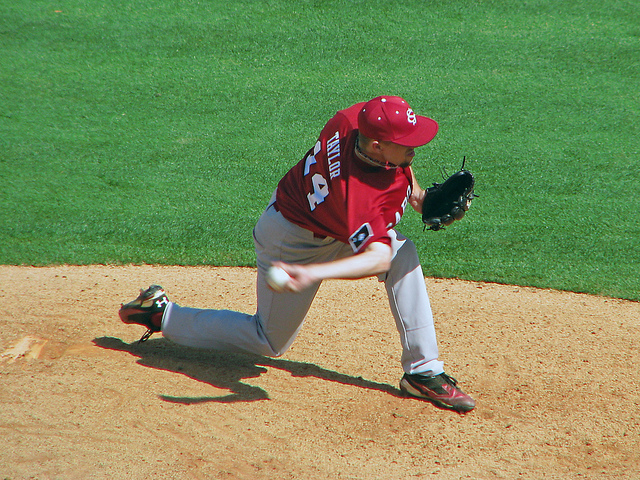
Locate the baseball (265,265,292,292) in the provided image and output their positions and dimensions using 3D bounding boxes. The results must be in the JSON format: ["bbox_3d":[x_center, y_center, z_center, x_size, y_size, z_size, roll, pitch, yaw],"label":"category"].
[{"bbox_3d":[-0.311,0.292,6.736,0.111,0.195,0.167,-22,42,-37],"label":"baseball"}]

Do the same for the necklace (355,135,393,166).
[{"bbox_3d":[0.406,-0.658,7.034,0.249,0.058,0.220,21,24,-21],"label":"necklace"}]

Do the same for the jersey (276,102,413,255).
[{"bbox_3d":[0.217,-0.446,7.316,0.559,1.499,0.923,6,68,-34],"label":"jersey"}]

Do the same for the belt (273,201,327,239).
[{"bbox_3d":[-0.161,-0.133,7.392,0.374,0.150,0.277,34,5,11],"label":"belt"}]

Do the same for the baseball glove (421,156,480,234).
[{"bbox_3d":[1.088,-0.342,7.638,0.180,0.495,0.535,28,66,-25],"label":"baseball glove"}]
